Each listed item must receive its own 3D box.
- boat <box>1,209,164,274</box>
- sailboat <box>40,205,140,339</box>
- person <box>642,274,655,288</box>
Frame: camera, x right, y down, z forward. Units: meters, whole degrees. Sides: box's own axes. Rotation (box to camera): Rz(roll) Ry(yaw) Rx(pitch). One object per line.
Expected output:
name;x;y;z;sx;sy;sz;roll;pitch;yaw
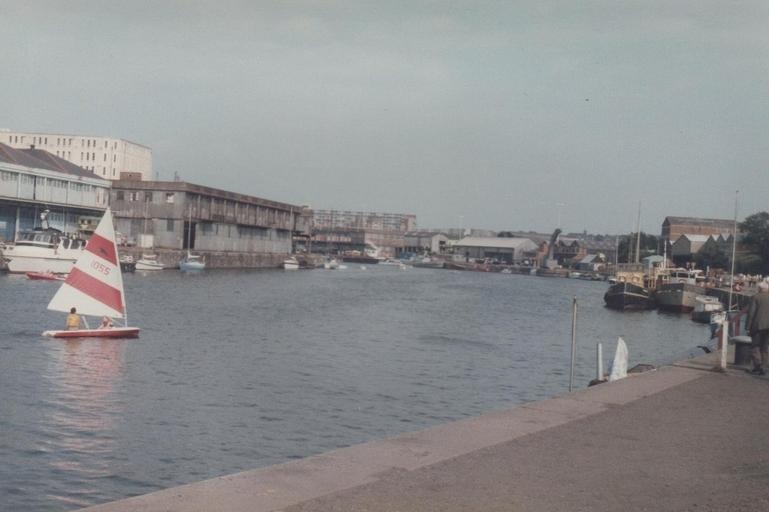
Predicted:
boat;-23.693;-1.038;82.332;5.767;5.603;15.267;-1;-6;17
sailboat;-12.256;0.952;45.409;4.139;5.311;1.093;-1;6;1
person;20.441;2.060;83.481;0.931;0.946;0.514;1;-7;16
